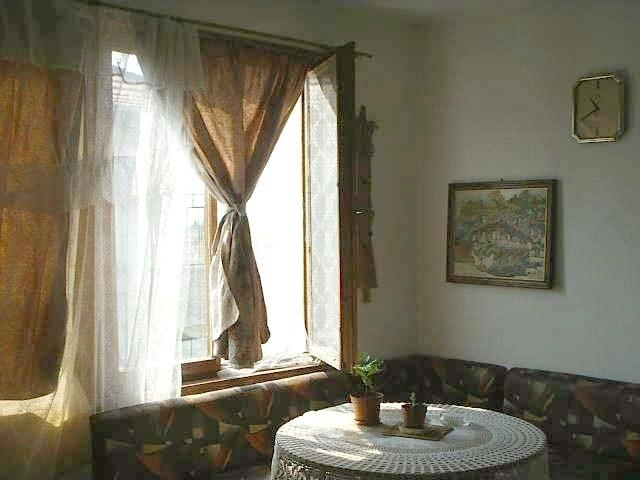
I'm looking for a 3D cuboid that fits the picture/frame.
[{"bbox_3d":[1.307,-0.050,3.895,0.760,0.815,0.058,0,-1,40],"label":"picture/frame"}]
